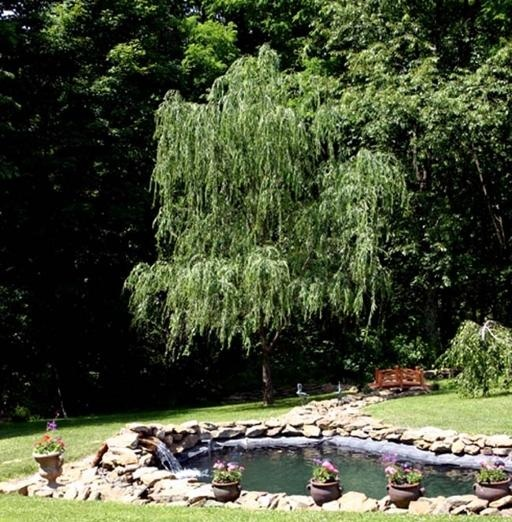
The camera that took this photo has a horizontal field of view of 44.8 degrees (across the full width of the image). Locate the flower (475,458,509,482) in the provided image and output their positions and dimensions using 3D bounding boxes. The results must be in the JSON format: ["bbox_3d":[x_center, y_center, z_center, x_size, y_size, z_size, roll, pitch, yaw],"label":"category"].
[{"bbox_3d":[3.448,3.059,8.993,0.522,0.244,0.367,3,-12,-45],"label":"flower"}]

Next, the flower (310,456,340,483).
[{"bbox_3d":[1.000,3.118,9.236,0.384,0.278,0.465,-5,-8,2],"label":"flower"}]

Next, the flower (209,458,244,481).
[{"bbox_3d":[-0.444,3.205,9.399,0.400,0.280,0.478,-5,-8,-1],"label":"flower"}]
